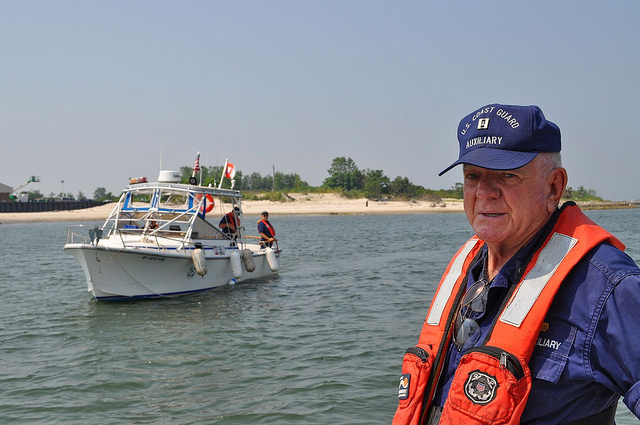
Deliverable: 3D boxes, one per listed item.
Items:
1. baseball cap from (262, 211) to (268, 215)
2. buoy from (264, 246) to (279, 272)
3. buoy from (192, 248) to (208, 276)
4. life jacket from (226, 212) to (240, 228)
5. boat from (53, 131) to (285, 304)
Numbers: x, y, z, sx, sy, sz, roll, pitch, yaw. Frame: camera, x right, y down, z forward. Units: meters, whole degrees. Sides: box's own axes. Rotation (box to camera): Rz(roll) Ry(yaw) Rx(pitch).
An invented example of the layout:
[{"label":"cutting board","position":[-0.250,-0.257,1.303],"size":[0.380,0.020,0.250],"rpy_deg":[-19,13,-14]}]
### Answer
[{"label":"baseball cap","position":[-2.119,0.003,23.073],"size":[0.240,0.088,0.233],"rpy_deg":[1,-4,-3]},{"label":"buoy","position":[-1.622,1.526,19.856],"size":[0.383,0.735,0.241],"rpy_deg":[-3,-23,-42]},{"label":"buoy","position":[-3.156,1.304,15.772],"size":[0.324,0.671,0.413],"rpy_deg":[-2,3,-20]},{"label":"life jacket","position":[-2.670,0.203,18.483],"size":[0.149,0.388,0.310],"rpy_deg":[-10,2,44]},{"label":"boat","position":[-4.707,0.228,18.182],"size":[5.273,3.944,8.092],"rpy_deg":[-1,3,7]}]
